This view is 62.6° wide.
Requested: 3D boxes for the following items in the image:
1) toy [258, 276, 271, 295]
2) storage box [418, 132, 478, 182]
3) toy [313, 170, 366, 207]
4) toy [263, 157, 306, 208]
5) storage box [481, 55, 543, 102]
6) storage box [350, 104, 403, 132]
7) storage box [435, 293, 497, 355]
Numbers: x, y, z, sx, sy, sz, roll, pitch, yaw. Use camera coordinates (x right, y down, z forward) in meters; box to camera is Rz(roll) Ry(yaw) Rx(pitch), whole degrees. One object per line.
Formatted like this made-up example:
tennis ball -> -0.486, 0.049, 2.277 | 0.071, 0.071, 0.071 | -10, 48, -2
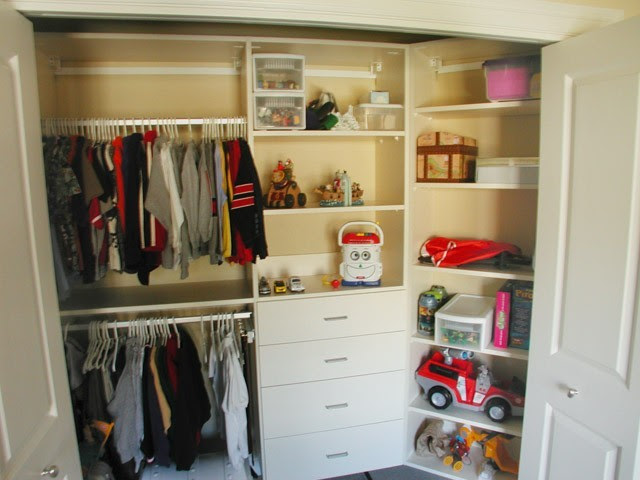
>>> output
toy -> -0.320, 0.270, 3.022 | 0.039, 0.039, 0.151 | -2, 15, -10
storage box -> 0.747, -0.457, 3.071 | 0.300, 0.272, 0.315 | 4, 7, 27
toy -> 0.104, -0.312, 3.119 | 0.283, 0.197, 0.196 | -6, 12, -22
toy -> -0.196, -0.316, 2.986 | 0.267, 0.336, 0.279 | 1, 2, 15
storage box -> 1.003, -0.831, 2.735 | 0.253, 0.185, 0.198 | 2, 8, 23
storage box -> 0.349, -0.676, 3.022 | 0.195, 0.119, 0.191 | 11, 14, 40
storage box -> 0.850, 0.479, 3.024 | 0.243, 0.187, 0.332 | 5, 10, 27
